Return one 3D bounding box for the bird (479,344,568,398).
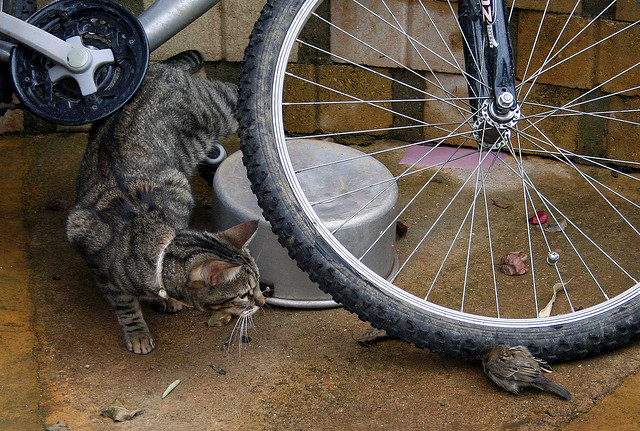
[{"bbox_3d":[0.802,0.613,2.856,0.370,0.165,0.186,0,14,43],"label":"bird"}]

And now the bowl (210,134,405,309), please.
[{"bbox_3d":[-0.063,0.054,3.137,0.776,0.470,0.724,1,25,-1],"label":"bowl"}]

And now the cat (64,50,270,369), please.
[{"bbox_3d":[-0.716,-0.201,3.470,0.766,1.664,0.858,-10,-23,-8],"label":"cat"}]
